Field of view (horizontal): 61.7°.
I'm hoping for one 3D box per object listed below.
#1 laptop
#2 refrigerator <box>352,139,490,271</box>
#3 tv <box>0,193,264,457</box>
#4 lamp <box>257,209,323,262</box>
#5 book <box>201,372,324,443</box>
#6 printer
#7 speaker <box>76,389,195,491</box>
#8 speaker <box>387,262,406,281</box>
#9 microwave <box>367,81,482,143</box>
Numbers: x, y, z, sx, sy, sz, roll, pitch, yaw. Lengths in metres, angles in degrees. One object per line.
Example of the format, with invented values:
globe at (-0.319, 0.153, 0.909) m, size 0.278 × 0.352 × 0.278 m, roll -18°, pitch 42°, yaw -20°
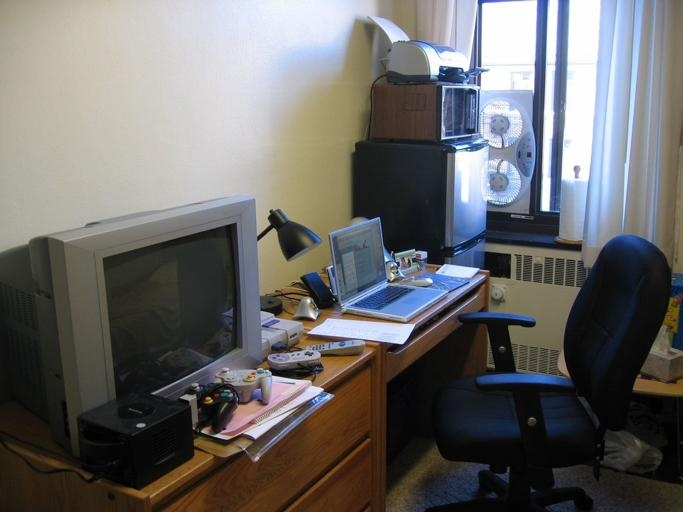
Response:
laptop at (0.223, 0.091, 2.544) m, size 0.408 × 0.429 × 0.537 m, roll 6°, pitch 16°, yaw 28°
refrigerator at (0.537, -0.292, 3.503) m, size 0.654 × 1.023 × 0.660 m, roll 4°, pitch 5°, yaw 31°
tv at (-0.674, 0.105, 1.917) m, size 0.616 × 0.819 × 0.926 m, roll 7°, pitch 14°, yaw 29°
lamp at (-0.211, -0.080, 2.197) m, size 0.154 × 0.197 × 0.269 m, roll -14°, pitch 20°, yaw -35°
book at (-0.250, 0.456, 1.717) m, size 0.162 × 0.033 × 0.227 m, roll 6°, pitch 18°, yaw 33°
printer at (0.498, -1.047, 3.097) m, size 0.493 × 0.232 × 0.304 m, roll -6°, pitch 17°, yaw -11°
speaker at (-0.537, 0.442, 1.481) m, size 0.200 × 0.152 × 0.220 m, roll 7°, pitch 9°, yaw 29°
speaker at (0.266, 0.083, 2.792) m, size 0.072 × 0.106 × 0.032 m, roll -12°, pitch -8°, yaw -31°
microwave at (0.434, -0.761, 3.179) m, size 0.415 × 0.287 × 0.421 m, roll 8°, pitch 18°, yaw 26°
